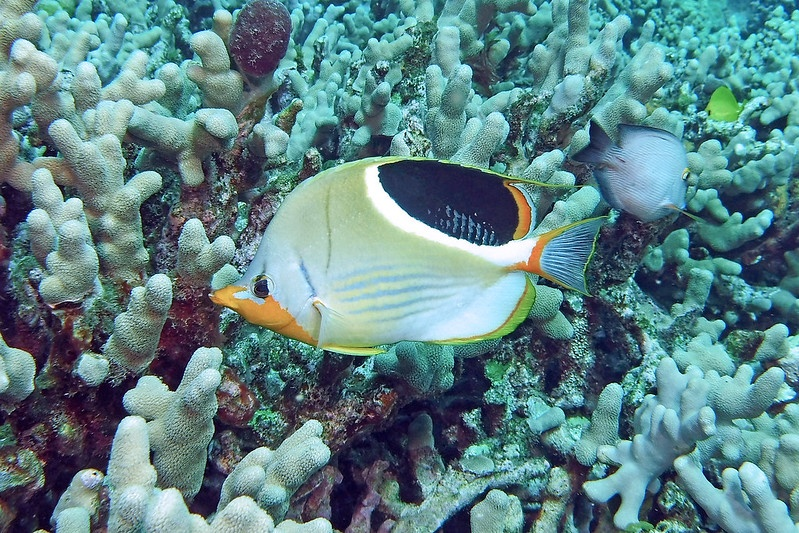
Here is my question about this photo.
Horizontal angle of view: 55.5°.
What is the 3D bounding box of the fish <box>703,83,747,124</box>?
[{"bbox_3d":[3.111,-1.549,7.299,0.377,0.221,0.261,-27,51,-24],"label":"fish"}]
